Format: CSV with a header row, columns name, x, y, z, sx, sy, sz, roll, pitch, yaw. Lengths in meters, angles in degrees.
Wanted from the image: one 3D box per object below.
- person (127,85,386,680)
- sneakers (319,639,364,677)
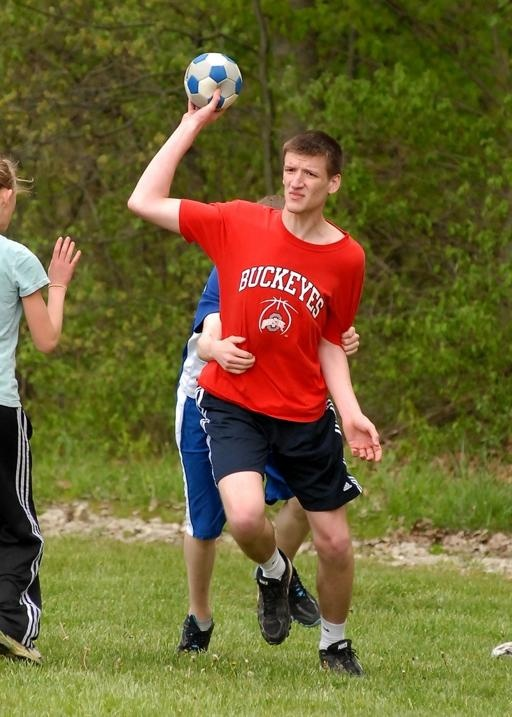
name,x,y,z,sx,sy,sz,roll,pitch,yaw
person,0.031,0.109,3.341,0.903,2.135,0.453,2,-4,-10
sneakers,0.315,1.137,3.541,0.081,0.088,0.230,0,-3,-38
